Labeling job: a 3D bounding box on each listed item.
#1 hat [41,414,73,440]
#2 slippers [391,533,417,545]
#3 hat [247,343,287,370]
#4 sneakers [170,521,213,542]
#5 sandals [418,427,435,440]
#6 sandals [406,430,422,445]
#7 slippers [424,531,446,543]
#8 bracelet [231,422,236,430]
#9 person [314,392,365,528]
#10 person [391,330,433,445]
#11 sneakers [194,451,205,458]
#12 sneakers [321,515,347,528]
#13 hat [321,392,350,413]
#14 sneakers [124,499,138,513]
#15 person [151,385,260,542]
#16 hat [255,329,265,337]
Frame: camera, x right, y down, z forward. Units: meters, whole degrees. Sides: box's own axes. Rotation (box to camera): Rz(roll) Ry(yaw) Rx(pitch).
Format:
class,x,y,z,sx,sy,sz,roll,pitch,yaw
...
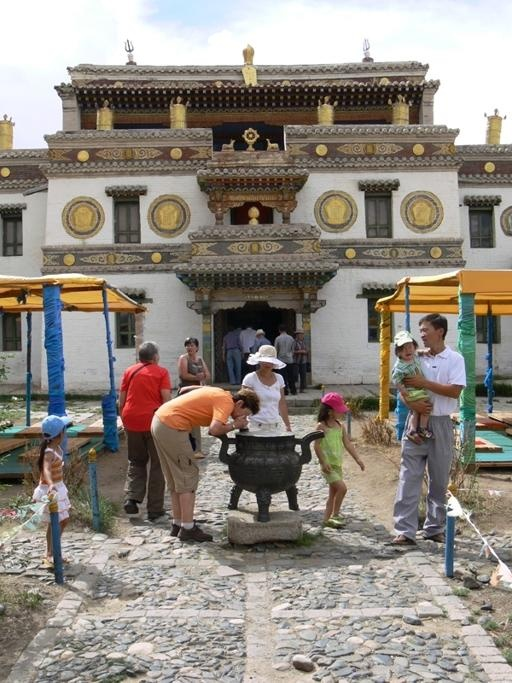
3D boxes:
class,x,y,z,sx,sy,sz,roll,pitch,yaw
hat,-1.702,0.728,7.245,0.179,0.126,0.257,2,25,18
slippers,1.264,1.693,7.328,0.228,0.079,0.077,5,-2,4
hat,0.099,0.154,8.492,0.321,0.137,0.292,2,-6,-2
sneakers,-0.554,1.662,7.492,0.371,0.161,0.142,3,0,1
sandals,1.431,0.774,7.201,0.059,0.063,0.163,-5,1,-27
sandals,1.352,0.813,7.252,0.074,0.054,0.161,-42,25,-18
slippers,1.549,1.695,7.427,0.195,0.072,0.064,-2,1,27
bracelet,-0.179,0.705,7.129,0.049,0.055,0.022,-1,-6,-14
person,0.765,1.092,7.883,0.441,1.226,0.712,-1,1,4
person,1.326,0.378,7.368,0.303,0.931,0.398,-1,1,-2
sneakers,-0.726,1.489,11.249,0.151,0.044,0.160,1,-2,-2
sneakers,0.725,1.663,7.860,0.204,0.075,0.077,-1,-1,21
hat,0.725,0.576,7.922,0.211,0.195,0.342,-1,1,4
sneakers,-1.216,1.626,8.415,0.104,0.141,0.055,3,-2,-9
person,-0.451,1.075,7.294,0.899,1.369,0.464,0,1,36
hat,0.097,-0.195,18.170,0.227,0.083,0.235,-1,-9,-9
